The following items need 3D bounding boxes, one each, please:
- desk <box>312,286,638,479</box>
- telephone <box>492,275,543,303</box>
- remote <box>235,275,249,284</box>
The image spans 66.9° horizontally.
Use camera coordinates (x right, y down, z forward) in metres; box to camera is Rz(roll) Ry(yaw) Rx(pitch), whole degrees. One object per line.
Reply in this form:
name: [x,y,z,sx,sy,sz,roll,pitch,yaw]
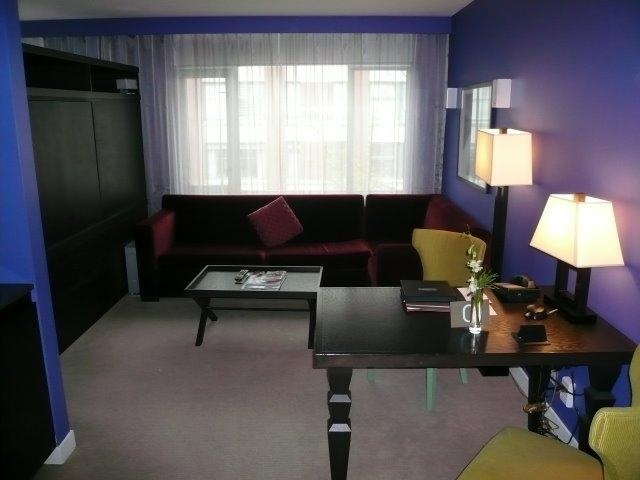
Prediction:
desk: [0.637,1.042,3.072,1.728,0.872,0.949,0,14,0]
telephone: [1.240,0.309,3.059,0.186,0.109,0.207,0,7,3]
remote: [-0.697,0.347,4.320,0.115,0.047,0.042,2,16,2]
